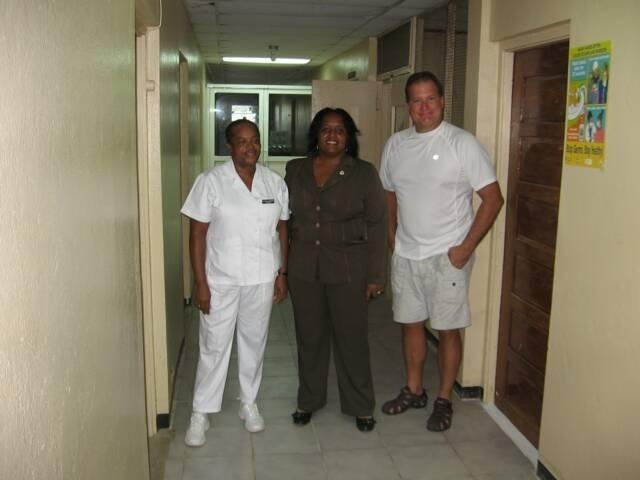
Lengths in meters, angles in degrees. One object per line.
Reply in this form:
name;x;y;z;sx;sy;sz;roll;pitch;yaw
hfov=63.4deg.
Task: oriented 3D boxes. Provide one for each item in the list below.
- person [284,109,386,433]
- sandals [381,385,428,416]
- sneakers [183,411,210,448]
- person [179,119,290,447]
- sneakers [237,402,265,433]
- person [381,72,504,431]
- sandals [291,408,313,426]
person;0.094;0.197;3.110;0.603;1.933;0.322;0;9;-1
sandals;0.557;1.039;3.447;0.355;0.166;0.133;-9;19;-15
sneakers;-0.721;1.109;2.989;0.083;0.097;0.222;1;-5;-4
person;-0.488;0.245;3.003;0.624;1.853;0.328;-1;9;-5
sneakers;-0.415;1.086;3.143;0.095;0.085;0.198;-1;10;-30
person;0.682;0.089;3.140;0.783;2.138;0.280;7;12;37
sandals;-0.113;1.110;3.223;0.123;0.071;0.054;6;-23;-4
